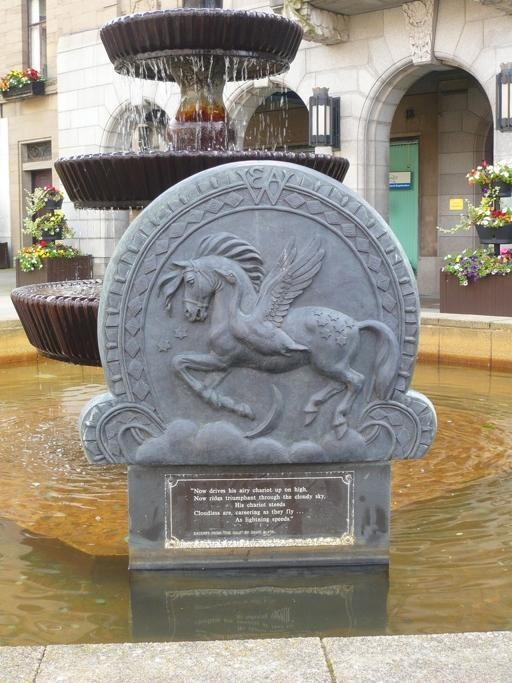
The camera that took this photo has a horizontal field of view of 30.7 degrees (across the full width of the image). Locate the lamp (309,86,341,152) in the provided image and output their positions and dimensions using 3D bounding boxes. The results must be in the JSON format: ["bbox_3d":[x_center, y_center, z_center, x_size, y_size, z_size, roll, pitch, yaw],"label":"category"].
[{"bbox_3d":[1.035,-3.318,14.055,0.450,0.852,0.356,-1,11,5],"label":"lamp"}]

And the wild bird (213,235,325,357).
[{"bbox_3d":[0.109,-0.171,3.791,0.461,0.455,0.486,2,0,8],"label":"wild bird"}]

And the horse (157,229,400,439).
[{"bbox_3d":[0.052,-0.056,3.624,0.865,0.636,0.182,5,13,1],"label":"horse"}]
